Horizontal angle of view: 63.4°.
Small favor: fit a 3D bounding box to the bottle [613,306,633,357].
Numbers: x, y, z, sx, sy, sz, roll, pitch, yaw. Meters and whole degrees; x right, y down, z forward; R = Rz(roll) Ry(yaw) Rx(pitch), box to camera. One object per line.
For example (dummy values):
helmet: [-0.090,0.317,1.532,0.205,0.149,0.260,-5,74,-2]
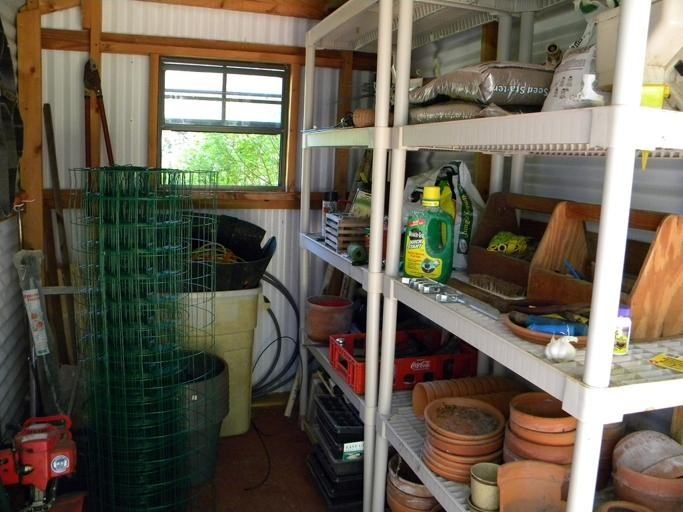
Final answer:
bottle: [0.826,0.211,1.615,0.038,0.140,0.166,6,15,29]
